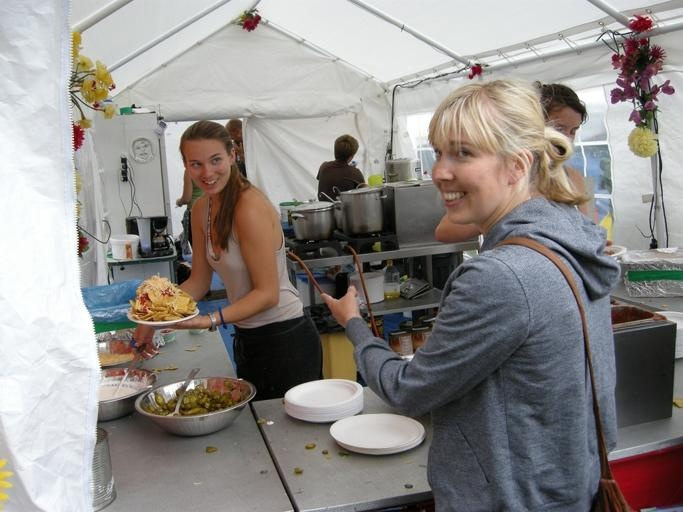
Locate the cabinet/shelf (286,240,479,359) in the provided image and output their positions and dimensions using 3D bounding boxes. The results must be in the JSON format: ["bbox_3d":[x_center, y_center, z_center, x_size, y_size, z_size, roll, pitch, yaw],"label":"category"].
[{"bbox_3d":[0.307,0.342,4.169,1.319,1.186,0.953,-7,19,-13],"label":"cabinet/shelf"}]

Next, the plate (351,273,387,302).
[{"bbox_3d":[0.256,0.260,4.396,0.226,0.195,0.282,-4,3,-22],"label":"plate"}]

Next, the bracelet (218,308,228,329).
[{"bbox_3d":[-0.511,0.271,2.261,0.022,0.087,0.074,-5,8,-14],"label":"bracelet"}]

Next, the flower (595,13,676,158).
[{"bbox_3d":[2.698,-1.511,4.713,0.500,1.274,0.947,2,12,26],"label":"flower"}]

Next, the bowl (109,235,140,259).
[{"bbox_3d":[-2.263,-0.101,5.464,0.255,0.178,0.251,0,5,0],"label":"bowl"}]

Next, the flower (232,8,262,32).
[{"bbox_3d":[-1.615,-4.131,9.264,0.300,0.222,0.294,-43,36,-18],"label":"flower"}]

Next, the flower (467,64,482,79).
[{"bbox_3d":[1.845,-2.532,7.244,0.088,0.176,0.180,0,5,-25],"label":"flower"}]

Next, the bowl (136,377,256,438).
[{"bbox_3d":[-0.549,0.580,2.009,0.443,0.134,0.359,-6,11,-16],"label":"bowl"}]

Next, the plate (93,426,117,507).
[{"bbox_3d":[-0.716,0.614,1.570,0.051,0.219,0.208,-8,11,-20],"label":"plate"}]

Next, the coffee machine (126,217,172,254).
[{"bbox_3d":[-1.996,-0.229,5.665,0.541,0.440,0.307,-4,7,-12],"label":"coffee machine"}]

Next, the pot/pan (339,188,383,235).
[{"bbox_3d":[0.170,-0.387,4.594,0.391,0.346,0.382,-5,7,1],"label":"pot/pan"}]

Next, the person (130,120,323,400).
[{"bbox_3d":[-0.457,0.048,2.442,0.629,1.326,0.552,-4,11,1],"label":"person"}]

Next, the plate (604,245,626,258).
[{"bbox_3d":[1.543,-0.022,2.962,0.084,0.031,0.088,0,9,13],"label":"plate"}]

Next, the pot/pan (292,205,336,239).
[{"bbox_3d":[-0.239,-0.307,4.480,0.431,0.249,0.272,-8,8,-23],"label":"pot/pan"}]
